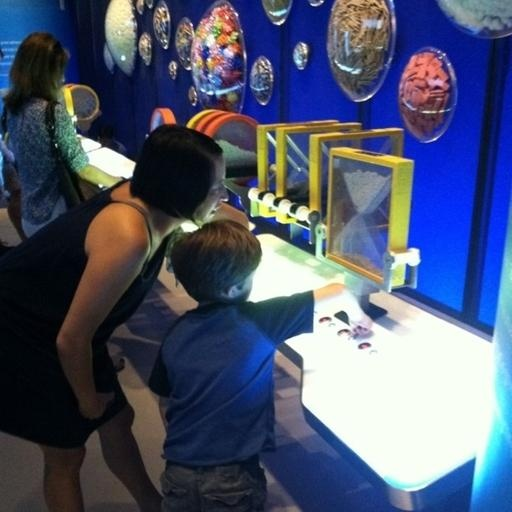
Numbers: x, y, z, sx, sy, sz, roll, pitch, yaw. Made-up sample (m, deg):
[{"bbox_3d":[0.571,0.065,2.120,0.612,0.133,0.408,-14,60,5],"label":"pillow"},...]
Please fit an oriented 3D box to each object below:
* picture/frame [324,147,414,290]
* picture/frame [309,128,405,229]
[{"bbox_3d":[0.306,-0.106,1.293,0.056,0.402,0.271,-16,28,-28],"label":"picture/frame"},{"bbox_3d":[0.287,-0.223,1.335,0.242,0.285,0.085,4,13,21],"label":"picture/frame"}]
